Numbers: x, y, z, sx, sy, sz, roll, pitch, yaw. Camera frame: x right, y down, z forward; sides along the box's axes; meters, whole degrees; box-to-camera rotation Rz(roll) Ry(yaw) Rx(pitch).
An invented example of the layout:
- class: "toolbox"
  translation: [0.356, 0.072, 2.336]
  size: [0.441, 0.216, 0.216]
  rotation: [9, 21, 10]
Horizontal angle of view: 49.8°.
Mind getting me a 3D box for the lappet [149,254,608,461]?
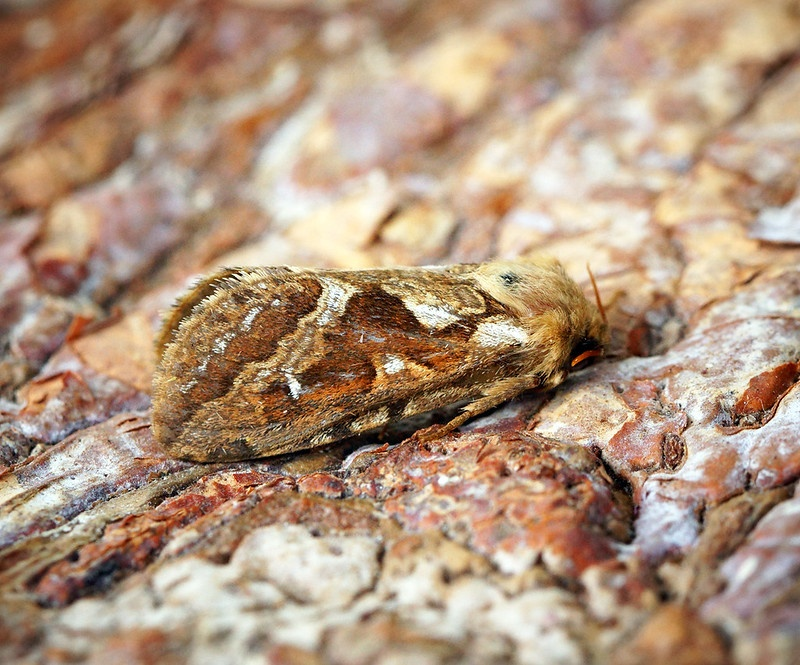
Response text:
- class: "lappet"
  translation: [-0.093, 0.050, 1.871]
  size: [1.077, 0.266, 0.357]
  rotation: [3, 37, -12]
